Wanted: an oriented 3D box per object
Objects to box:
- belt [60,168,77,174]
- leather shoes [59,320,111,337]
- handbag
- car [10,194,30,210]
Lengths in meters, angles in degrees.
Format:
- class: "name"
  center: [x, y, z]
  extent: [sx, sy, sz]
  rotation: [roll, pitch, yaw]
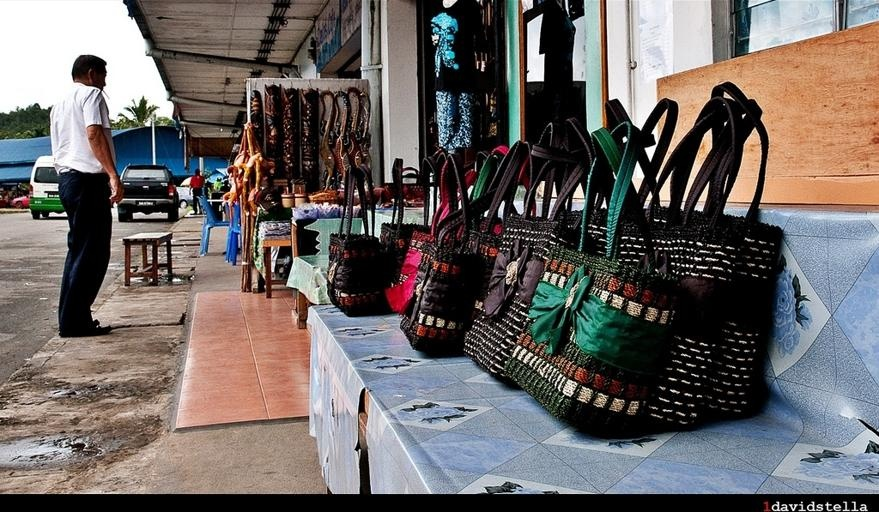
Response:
- class: "belt"
  center: [-3.396, -0.768, 5.046]
  extent: [0.074, 0.035, 0.092]
  rotation: [-1, -1, 34]
- class: "leather shoes"
  center: [-3.365, 0.684, 5.310]
  extent: [0.461, 0.158, 0.157]
  rotation: [1, 0, -27]
- class: "handbag"
  center: [0.467, 0.253, 1.860]
  extent: [0.725, 0.664, 1.070]
  rotation: [22, -13, -29]
- class: "car"
  center: [-27.837, -3.597, 36.762]
  extent: [0.746, 0.831, 1.875]
  rotation: [-12, 14, -42]
